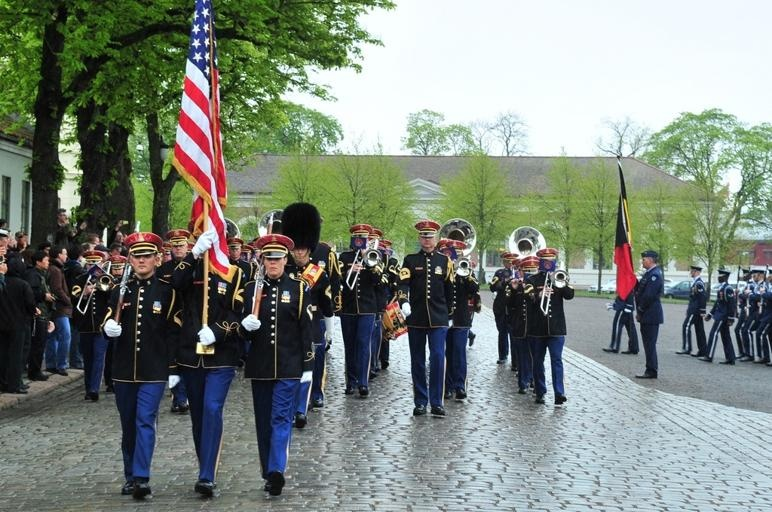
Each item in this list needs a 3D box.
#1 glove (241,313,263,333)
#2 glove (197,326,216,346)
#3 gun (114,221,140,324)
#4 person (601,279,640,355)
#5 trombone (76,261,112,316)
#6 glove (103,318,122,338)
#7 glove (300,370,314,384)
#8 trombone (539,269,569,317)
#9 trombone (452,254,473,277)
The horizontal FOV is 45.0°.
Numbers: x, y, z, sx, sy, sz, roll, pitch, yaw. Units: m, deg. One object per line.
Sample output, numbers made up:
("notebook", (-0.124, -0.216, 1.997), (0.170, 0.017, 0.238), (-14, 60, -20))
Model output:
("glove", (-1.923, 0.963, 13.393), (0.285, 0.269, 0.255), (0, 7, -11))
("glove", (-2.539, 1.126, 13.248), (0.267, 0.270, 0.162), (2, 7, 6))
("gun", (-3.955, 0.406, 13.873), (0.534, 1.894, 0.449), (0, -1, -5))
("person", (6.074, 1.538, 24.031), (0.889, 1.851, 0.849), (3, -1, 35))
("trombone", (-5.521, 0.555, 17.608), (0.507, 0.505, 1.517), (-43, 6, 3))
("glove", (-3.917, 1.043, 13.418), (0.257, 0.278, 0.264), (-1, 7, -25))
("glove", (-1.148, 1.738, 13.578), (0.175, 0.208, 0.077), (5, -15, 0))
("trombone", (3.135, 0.614, 17.648), (0.485, 0.883, 0.497), (16, -37, 12))
("trombone", (1.460, 0.195, 17.670), (0.340, 0.339, 0.344), (-3, -5, 3))
